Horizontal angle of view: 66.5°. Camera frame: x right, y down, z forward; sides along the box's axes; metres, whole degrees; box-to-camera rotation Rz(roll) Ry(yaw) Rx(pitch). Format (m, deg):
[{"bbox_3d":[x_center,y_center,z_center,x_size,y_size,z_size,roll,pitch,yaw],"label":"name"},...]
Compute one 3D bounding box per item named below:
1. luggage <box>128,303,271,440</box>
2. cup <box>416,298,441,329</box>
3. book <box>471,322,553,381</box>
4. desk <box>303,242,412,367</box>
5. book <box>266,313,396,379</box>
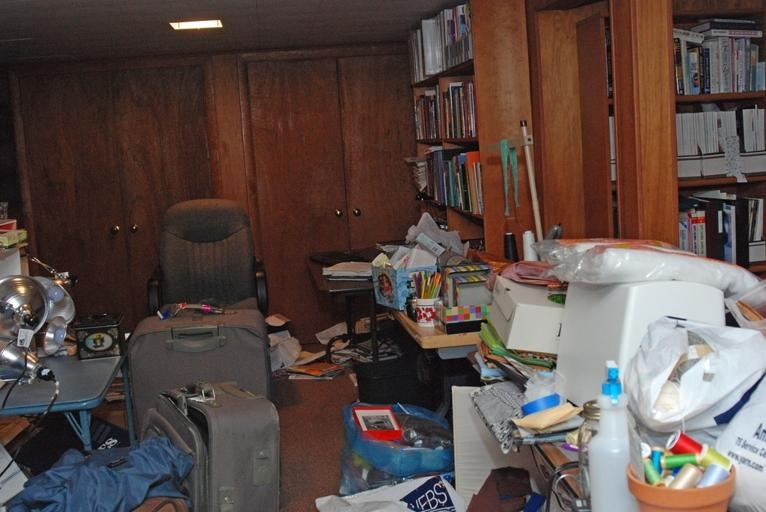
[{"bbox_3d":[-0.998,0.607,3.290,0.794,0.641,0.444,-4,21,-12],"label":"luggage"},{"bbox_3d":[0.207,0.278,2.776,0.139,0.131,0.124,-1,3,-2],"label":"cup"},{"bbox_3d":[0.488,0.359,2.199,0.216,0.066,0.205,0,7,-23],"label":"book"},{"bbox_3d":[-0.231,0.231,3.962,0.750,0.863,1.374,-1,9,-5],"label":"desk"},{"bbox_3d":[-0.410,0.619,4.286,0.758,0.194,0.507,-2,6,-13],"label":"book"}]
